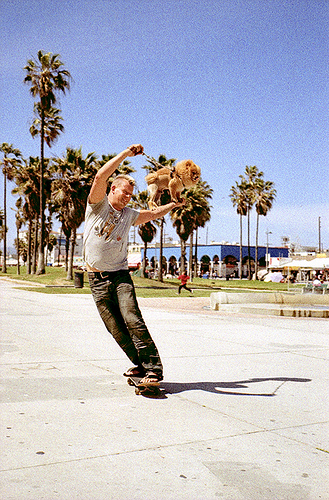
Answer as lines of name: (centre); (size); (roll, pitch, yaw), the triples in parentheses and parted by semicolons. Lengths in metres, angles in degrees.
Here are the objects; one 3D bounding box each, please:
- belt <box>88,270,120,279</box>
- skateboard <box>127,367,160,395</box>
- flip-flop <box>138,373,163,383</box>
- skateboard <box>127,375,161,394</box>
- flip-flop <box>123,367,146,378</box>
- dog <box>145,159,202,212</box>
belt: (-0.515, 0.204, 4.556); (0.260, 0.063, 0.084); (0, -2, 31)
skateboard: (-0.174, 1.075, 4.624); (0.221, 0.166, 0.403); (2, -2, -11)
flip-flop: (-0.119, 1.035, 4.528); (0.132, 0.060, 0.173); (2, -3, -32)
skateboard: (-0.189, 1.102, 4.618); (0.192, 0.095, 0.409); (2, -2, -20)
flip-flop: (-0.255, 1.042, 4.746); (0.168, 0.068, 0.056); (-1, -6, 24)
dog: (0.087, -0.658, 5.663); (0.687, 0.431, 0.258); (-1, 0, 34)
